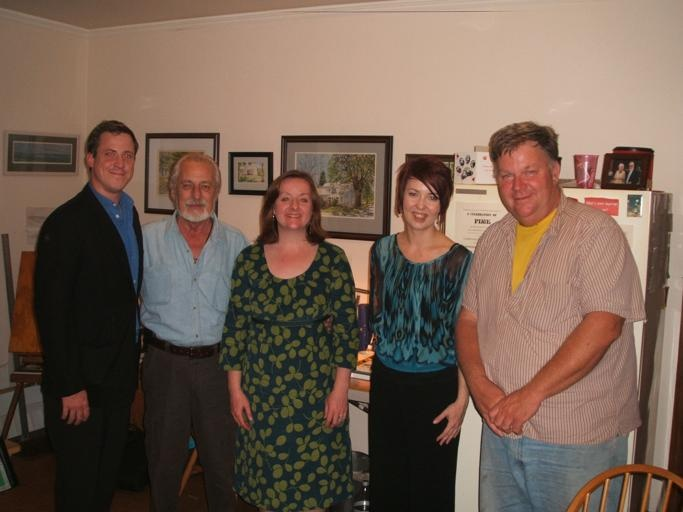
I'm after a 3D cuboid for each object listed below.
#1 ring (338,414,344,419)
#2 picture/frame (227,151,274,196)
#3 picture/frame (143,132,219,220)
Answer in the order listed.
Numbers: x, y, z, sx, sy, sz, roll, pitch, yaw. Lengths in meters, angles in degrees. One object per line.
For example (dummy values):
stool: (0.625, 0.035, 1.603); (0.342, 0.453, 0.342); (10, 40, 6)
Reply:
ring: (0.000, 0.772, 2.682); (0.021, 0.021, 0.022); (2, 3, 0)
picture/frame: (-0.641, -0.606, 4.011); (0.445, 0.426, 0.032); (3, 3, 20)
picture/frame: (-1.033, -0.552, 3.621); (0.730, 0.766, 0.033); (5, 7, 28)
